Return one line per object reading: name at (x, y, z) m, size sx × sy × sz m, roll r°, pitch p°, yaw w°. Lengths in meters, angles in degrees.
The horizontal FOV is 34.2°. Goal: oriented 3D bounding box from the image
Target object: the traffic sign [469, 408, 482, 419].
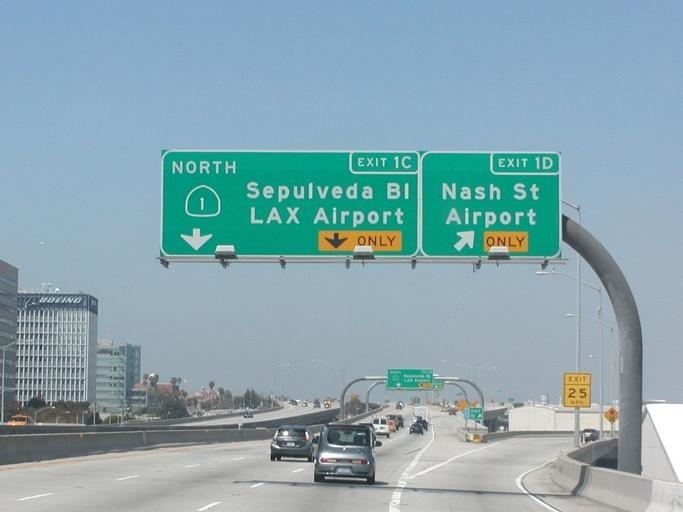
traffic sign at (11.339, 13.339, 94.545) m, size 0.640 × 1.015 × 2.012 m, roll 2°, pitch -13°, yaw -13°
